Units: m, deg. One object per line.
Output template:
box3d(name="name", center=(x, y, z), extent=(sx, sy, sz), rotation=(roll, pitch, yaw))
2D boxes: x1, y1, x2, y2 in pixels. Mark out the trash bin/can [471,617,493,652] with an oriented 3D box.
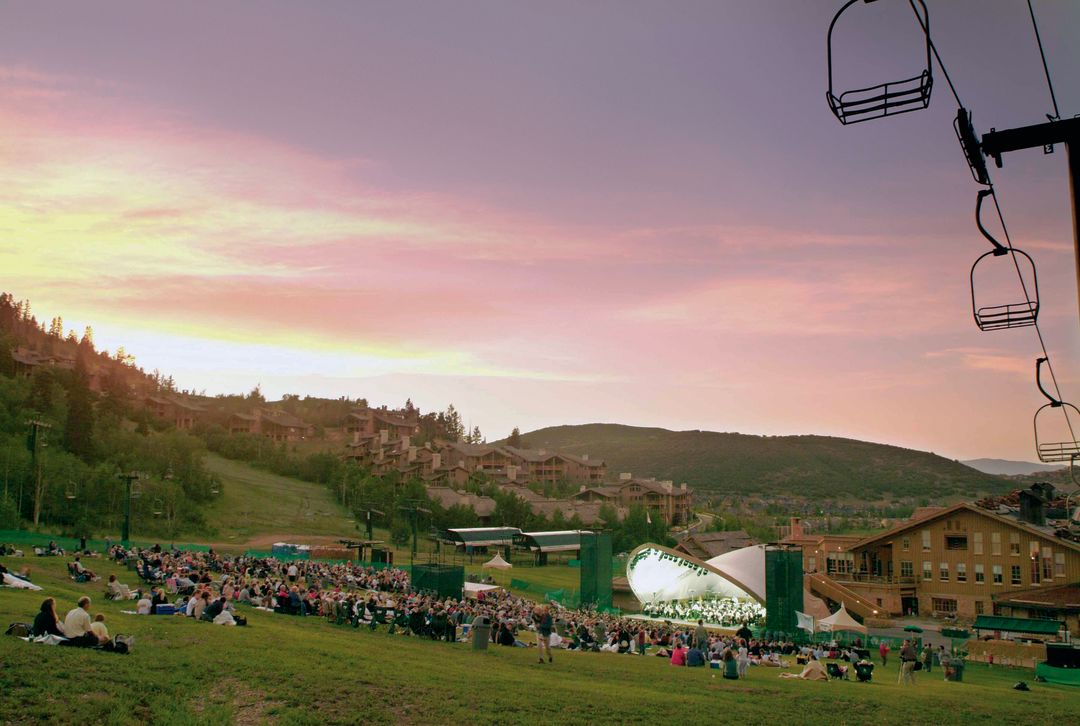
box3d(name="trash bin/can", center=(-5.132, 22.889, 118.080), extent=(1.413, 2.950, 1.970), rotation=(4, -14, -2))
